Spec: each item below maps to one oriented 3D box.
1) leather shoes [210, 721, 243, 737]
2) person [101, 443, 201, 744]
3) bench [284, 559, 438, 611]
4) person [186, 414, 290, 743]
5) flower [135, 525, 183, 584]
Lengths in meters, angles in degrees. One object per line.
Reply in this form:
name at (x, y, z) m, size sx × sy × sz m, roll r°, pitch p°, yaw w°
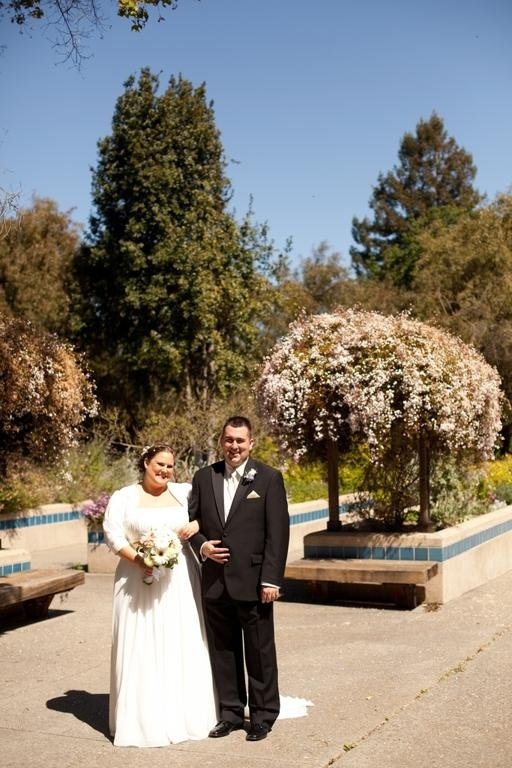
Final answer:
leather shoes at (-0.174, 2.044, 5.043) m, size 0.068 × 0.084 × 0.212 m, roll -4°, pitch -19°, yaw 38°
person at (-0.580, 1.224, 5.112) m, size 0.599 × 1.694 × 0.571 m, roll 1°, pitch -4°, yaw -23°
bench at (1.170, 2.173, 9.220) m, size 1.540 × 0.489 × 0.915 m, roll -3°, pitch -5°, yaw 26°
person at (-0.119, 1.139, 5.121) m, size 0.617 × 1.870 × 0.374 m, roll -2°, pitch -4°, yaw 10°
flower at (-0.559, 1.007, 4.958) m, size 0.248 × 0.324 × 0.287 m, roll 0°, pitch -4°, yaw -9°
